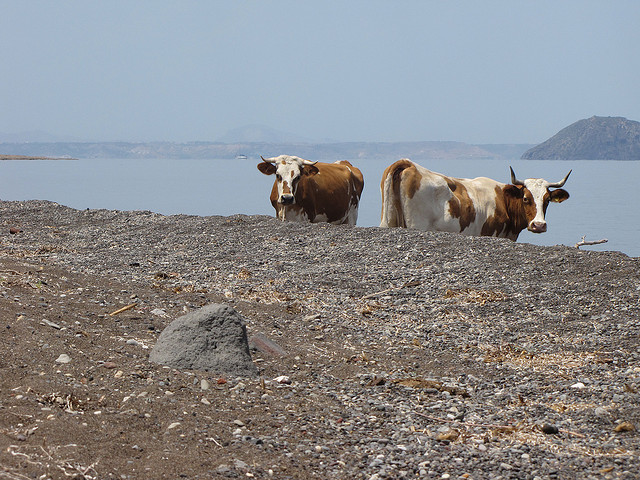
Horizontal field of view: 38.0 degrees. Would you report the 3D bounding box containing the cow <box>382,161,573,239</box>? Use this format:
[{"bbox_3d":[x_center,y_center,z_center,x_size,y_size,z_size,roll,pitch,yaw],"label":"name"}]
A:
[{"bbox_3d":[3.037,-0.475,19.187,4.310,2.043,1.609,0,14,-30],"label":"cow"}]
